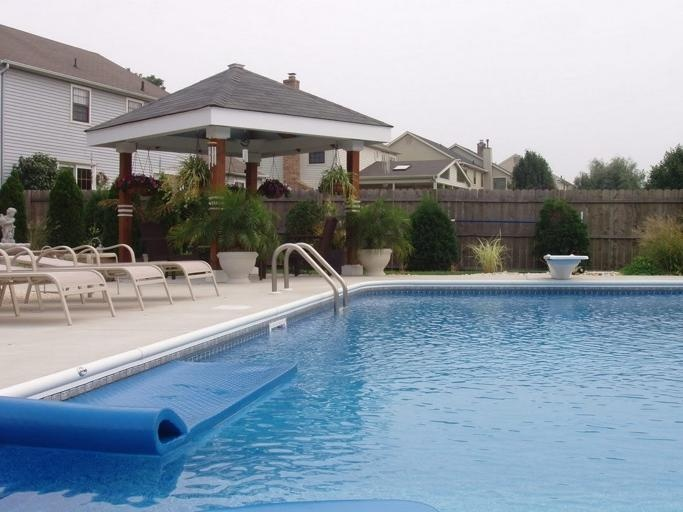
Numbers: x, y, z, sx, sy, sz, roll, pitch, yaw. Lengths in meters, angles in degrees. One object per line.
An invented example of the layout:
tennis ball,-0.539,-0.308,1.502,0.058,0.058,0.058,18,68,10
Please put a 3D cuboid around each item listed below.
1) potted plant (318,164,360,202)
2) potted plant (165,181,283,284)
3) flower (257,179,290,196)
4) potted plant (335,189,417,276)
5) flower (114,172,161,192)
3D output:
potted plant,-0.058,-1.480,15.494,0.712,0.608,0.776,1,-4,-1
potted plant,-2.160,-0.395,13.634,1.766,1.540,1.766,-2,-3,22
flower,-1.541,-1.454,16.369,0.514,0.295,0.534,-2,-3,36
potted plant,0.657,-0.490,15.812,1.583,1.794,1.456,0,-3,-13
flower,-4.045,-1.437,14.617,0.697,0.415,0.793,-3,3,-29
